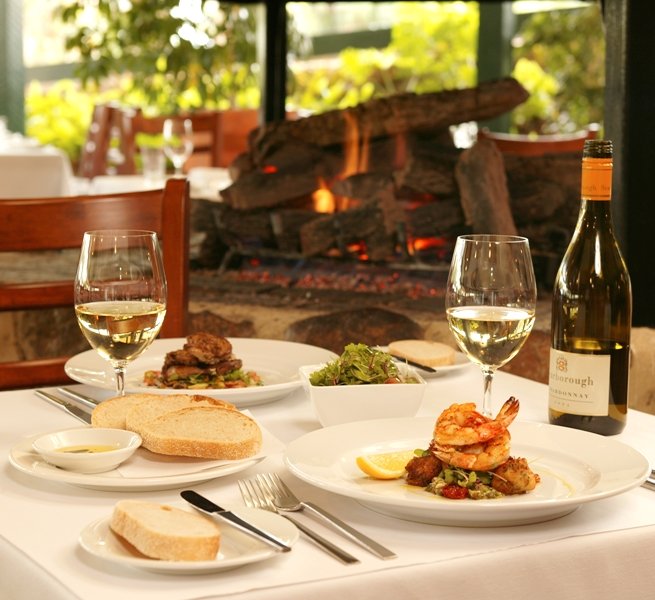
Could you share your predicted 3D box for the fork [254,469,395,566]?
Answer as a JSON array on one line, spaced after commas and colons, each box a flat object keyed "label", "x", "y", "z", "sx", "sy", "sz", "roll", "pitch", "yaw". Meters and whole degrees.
[{"label": "fork", "x": 0.000, "y": 0.182, "z": 0.522, "sx": 0.016, "sy": 0.012, "sz": 0.115, "roll": -18, "pitch": 20, "yaw": -27}]

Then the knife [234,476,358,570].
[{"label": "knife", "x": -0.033, "y": 0.181, "z": 0.551, "sx": 0.037, "sy": 0.017, "sz": 0.154, "roll": 4, "pitch": 15, "yaw": -38}]

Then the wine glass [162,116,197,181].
[{"label": "wine glass", "x": -0.843, "y": -0.865, "z": 3.558, "sx": 0.164, "sy": 0.374, "sz": 0.753, "roll": -6, "pitch": 8, "yaw": -11}]

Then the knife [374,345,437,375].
[{"label": "knife", "x": 0.122, "y": 0.095, "z": 0.978, "sx": 0.138, "sy": 0.007, "sz": 0.018, "roll": 22, "pitch": 49, "yaw": 38}]

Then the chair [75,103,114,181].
[{"label": "chair", "x": -1.323, "y": -0.894, "z": 3.586, "sx": 0.229, "sy": 0.429, "sz": 0.278, "roll": -6, "pitch": 9, "yaw": -17}]

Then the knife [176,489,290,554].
[{"label": "knife", "x": -0.074, "y": 0.175, "z": 0.492, "sx": 0.012, "sy": 0.006, "sz": 0.084, "roll": -15, "pitch": 21, "yaw": -33}]

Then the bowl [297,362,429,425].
[{"label": "bowl", "x": 0.049, "y": 0.113, "z": 0.806, "sx": 0.107, "sy": 0.041, "sz": 0.084, "roll": 0, "pitch": 4, "yaw": -11}]
